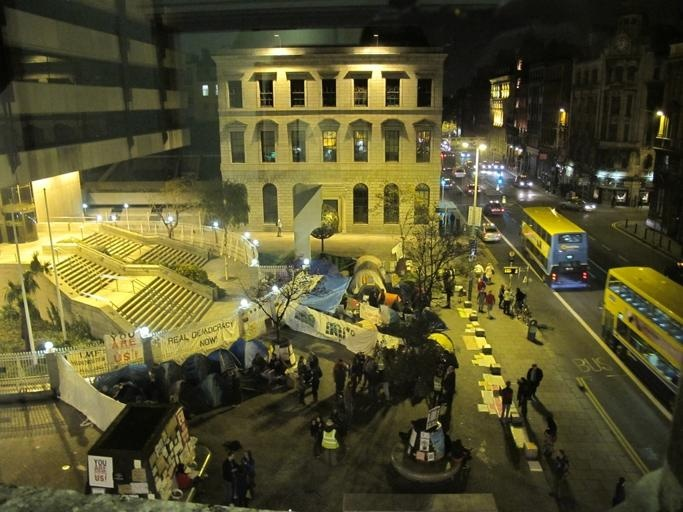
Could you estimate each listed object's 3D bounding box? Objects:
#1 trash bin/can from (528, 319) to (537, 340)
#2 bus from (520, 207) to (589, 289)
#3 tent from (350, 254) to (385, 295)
[{"bbox_3d":[11.880,4.384,33.288,0.612,1.218,2.507,4,11,19],"label":"trash bin/can"},{"bbox_3d":[17.834,-1.121,45.902,3.182,4.960,10.792,-4,17,7],"label":"bus"},{"bbox_3d":[1.745,1.084,38.225,2.567,1.565,4.405,-9,17,15],"label":"tent"}]
